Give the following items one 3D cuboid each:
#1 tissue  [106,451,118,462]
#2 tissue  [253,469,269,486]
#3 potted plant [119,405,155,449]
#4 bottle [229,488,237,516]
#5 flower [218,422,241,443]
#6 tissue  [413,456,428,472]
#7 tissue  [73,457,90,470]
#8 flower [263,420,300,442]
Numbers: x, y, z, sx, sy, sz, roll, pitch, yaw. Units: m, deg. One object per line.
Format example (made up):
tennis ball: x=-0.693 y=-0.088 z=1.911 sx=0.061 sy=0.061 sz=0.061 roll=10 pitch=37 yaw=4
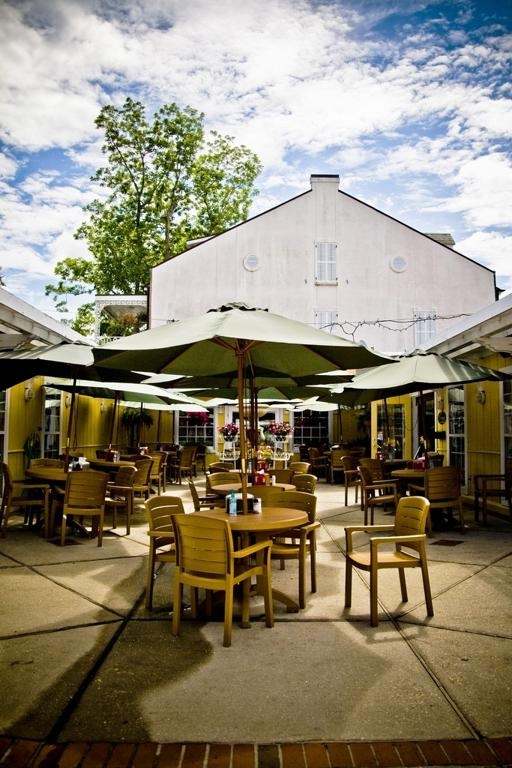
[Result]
tissue : x=-2.444 y=1.226 z=10.035 sx=0.136 sy=0.138 sz=0.077 roll=3 pitch=20 yaw=18
tissue : x=0.054 y=0.912 z=5.788 sx=0.139 sy=0.271 sz=0.142 roll=-3 pitch=-2 yaw=-2
potted plant: x=-3.739 y=1.218 z=17.745 sx=1.272 sy=1.661 sz=1.434 roll=0 pitch=-3 yaw=-7
bottle: x=-0.181 y=0.901 z=4.527 sx=0.065 sy=0.180 sz=0.208 roll=0 pitch=-6 yaw=-3
flower: x=-0.740 y=1.377 z=16.685 sx=0.586 sy=0.557 sz=0.609 roll=-2 pitch=-1 yaw=39
tissue : x=2.242 y=1.087 z=8.072 sx=0.130 sy=0.182 sz=0.181 roll=-3 pitch=-12 yaw=13
tissue : x=-2.542 y=1.164 z=8.699 sx=0.171 sy=0.266 sz=0.293 roll=3 pitch=-8 yaw=-28
flower: x=0.599 y=1.344 z=16.493 sx=0.787 sy=0.565 sz=0.812 roll=1 pitch=1 yaw=42
